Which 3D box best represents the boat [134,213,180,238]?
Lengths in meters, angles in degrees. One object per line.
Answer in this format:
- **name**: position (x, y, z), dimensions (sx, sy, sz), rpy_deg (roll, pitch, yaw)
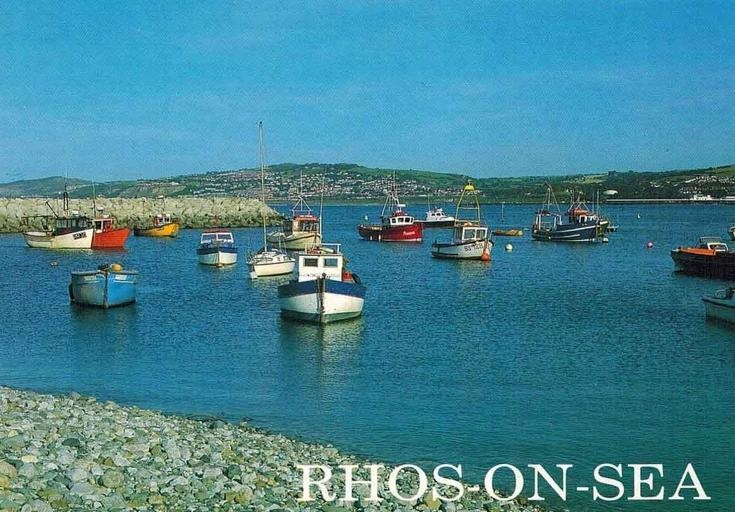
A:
- **boat**: position (-28.067, -3.761, 104.655), dimensions (3.361, 2.995, 9.384), rpy_deg (-2, 0, -40)
